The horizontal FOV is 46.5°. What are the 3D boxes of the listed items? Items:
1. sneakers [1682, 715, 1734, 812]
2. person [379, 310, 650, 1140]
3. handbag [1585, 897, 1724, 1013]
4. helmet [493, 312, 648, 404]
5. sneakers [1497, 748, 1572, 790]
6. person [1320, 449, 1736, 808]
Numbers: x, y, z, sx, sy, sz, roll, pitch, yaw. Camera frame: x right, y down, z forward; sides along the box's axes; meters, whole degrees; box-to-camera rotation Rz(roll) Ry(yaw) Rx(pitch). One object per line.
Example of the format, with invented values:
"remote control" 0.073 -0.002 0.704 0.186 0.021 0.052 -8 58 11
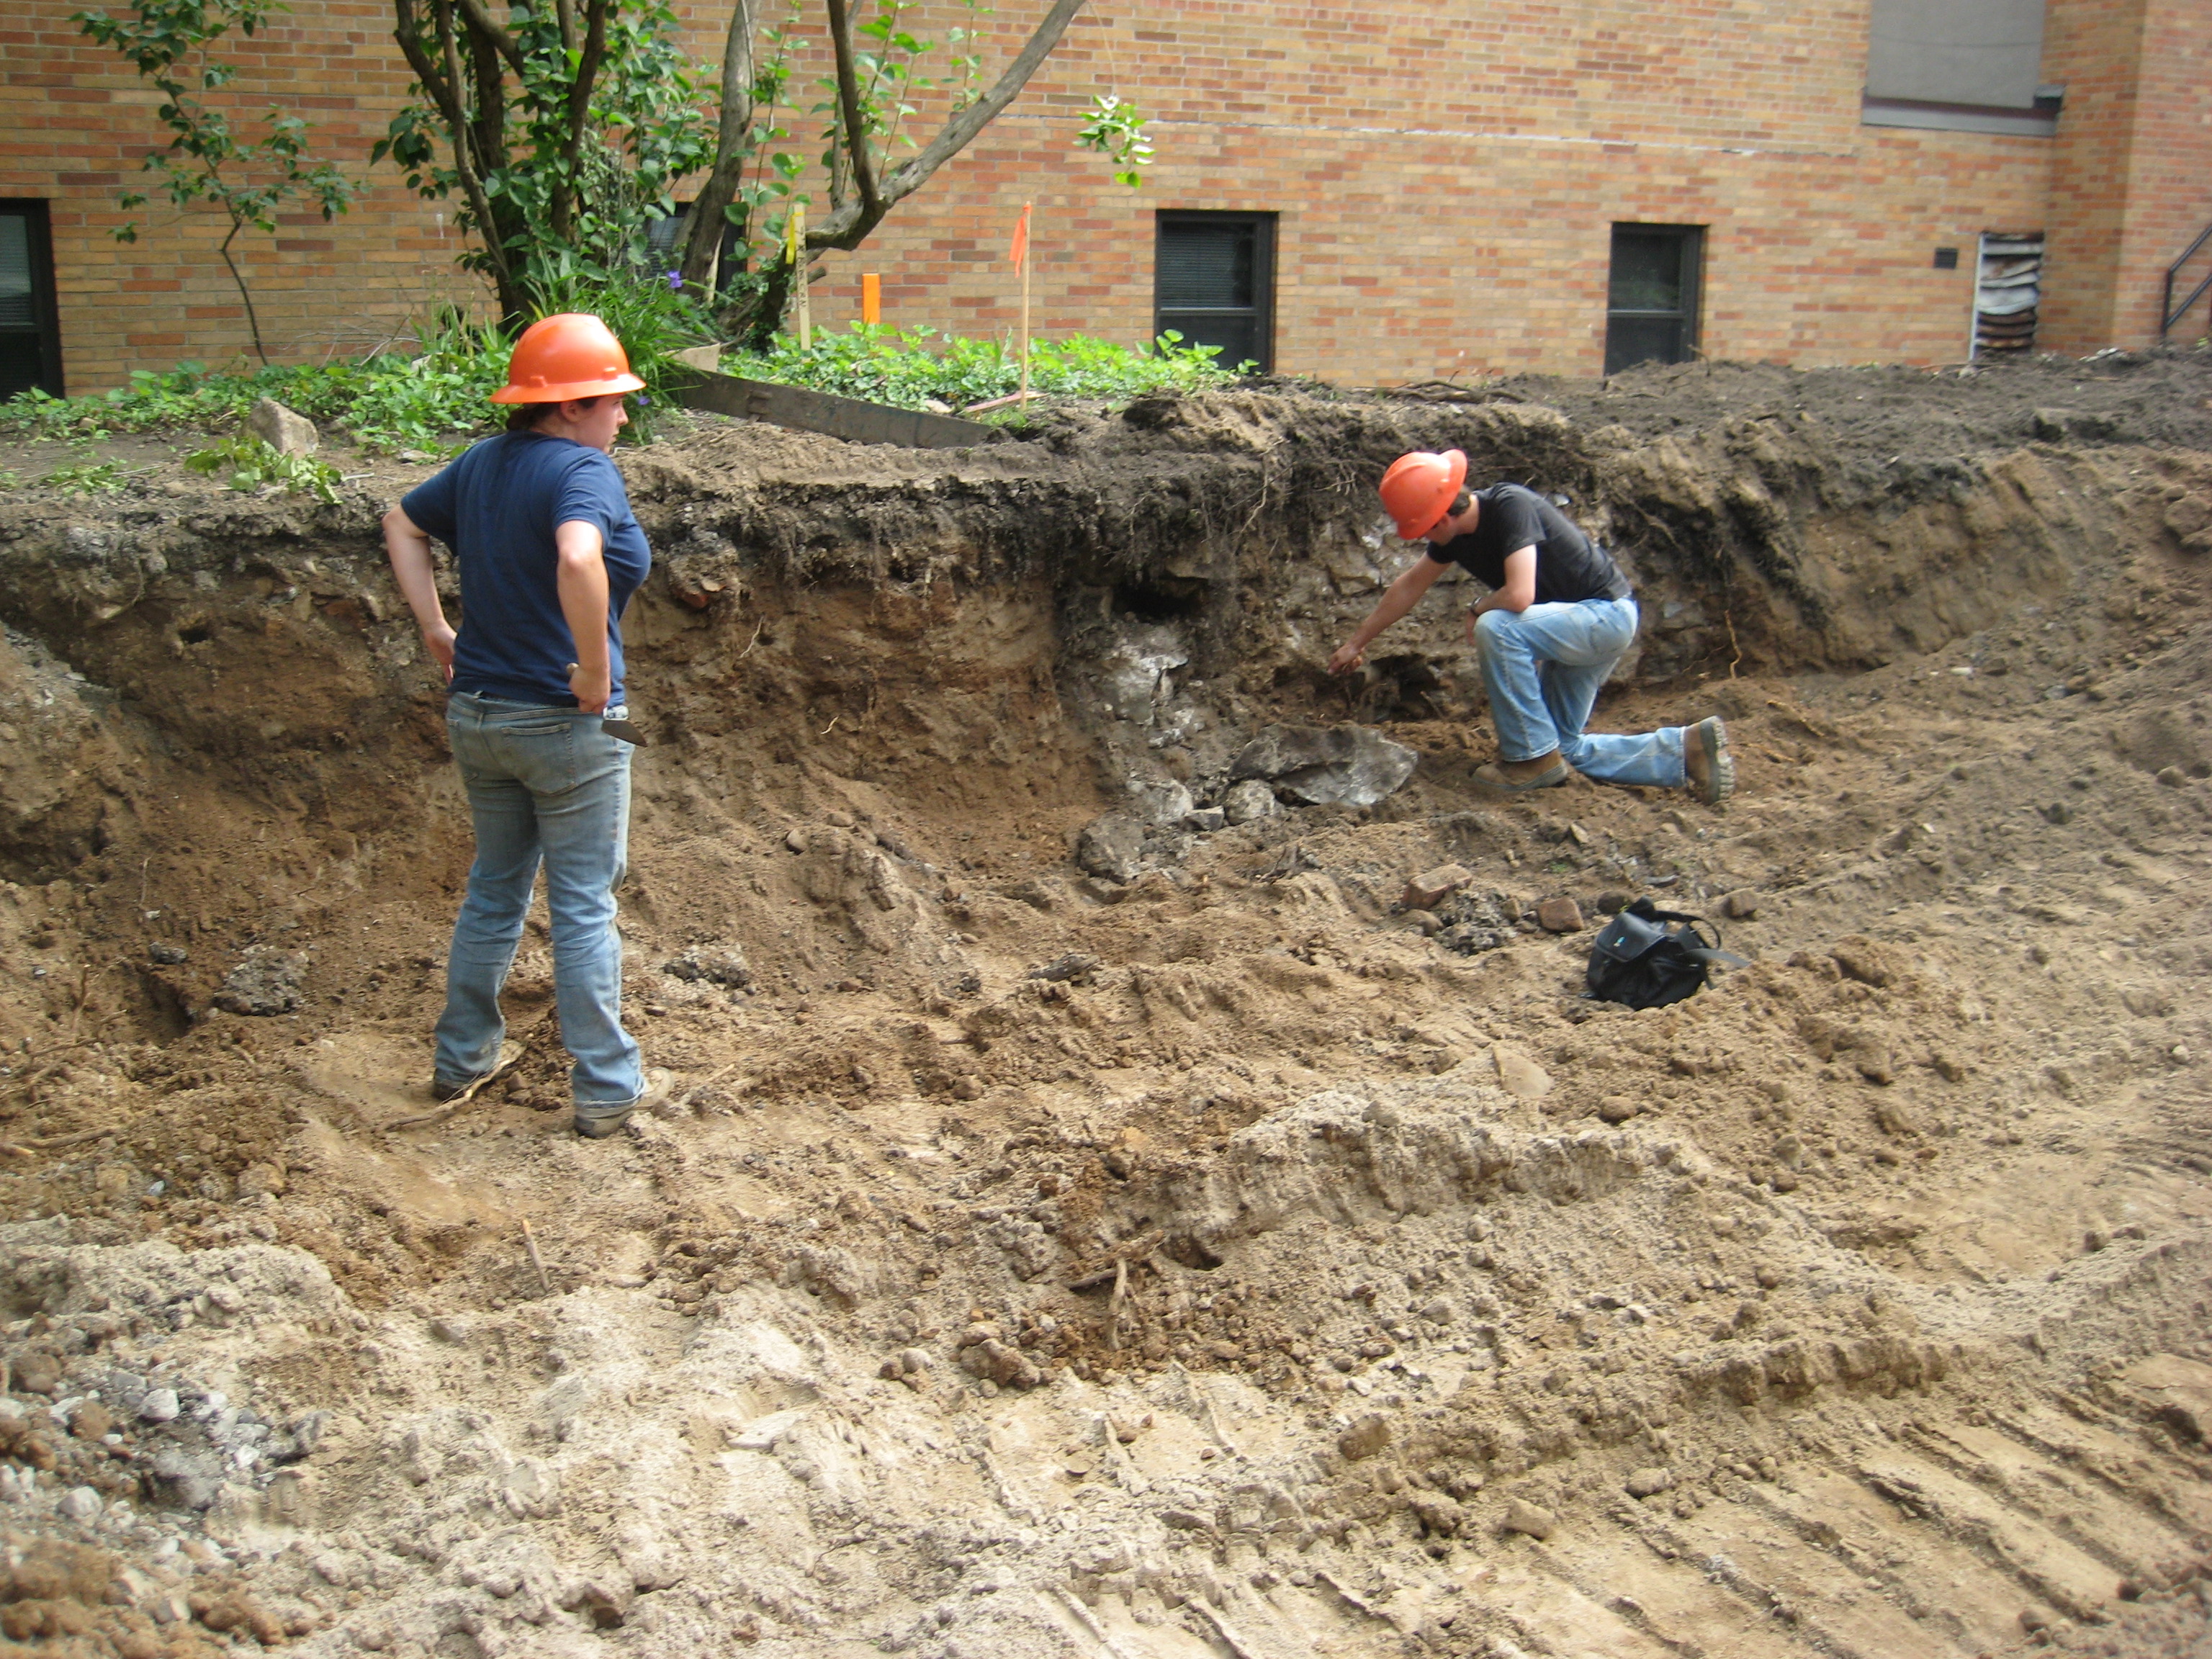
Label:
"sneakers" 2.754 -0.274 11.820 0.264 0.456 0.159 -1 49 13
"person" -2.107 -0.340 9.307 0.914 2.907 0.837 -3 19 -9
"handbag" 2.235 0.533 10.294 0.563 0.286 0.423 5 -24 37
"helmet" -1.931 -1.628 9.156 0.493 0.196 0.351 -9 22 -12
"sneakers" 1.964 -0.242 11.813 0.426 0.125 0.128 0 17 7
"person" 1.926 -0.910 11.996 2.205 1.343 0.855 7 -3 15
